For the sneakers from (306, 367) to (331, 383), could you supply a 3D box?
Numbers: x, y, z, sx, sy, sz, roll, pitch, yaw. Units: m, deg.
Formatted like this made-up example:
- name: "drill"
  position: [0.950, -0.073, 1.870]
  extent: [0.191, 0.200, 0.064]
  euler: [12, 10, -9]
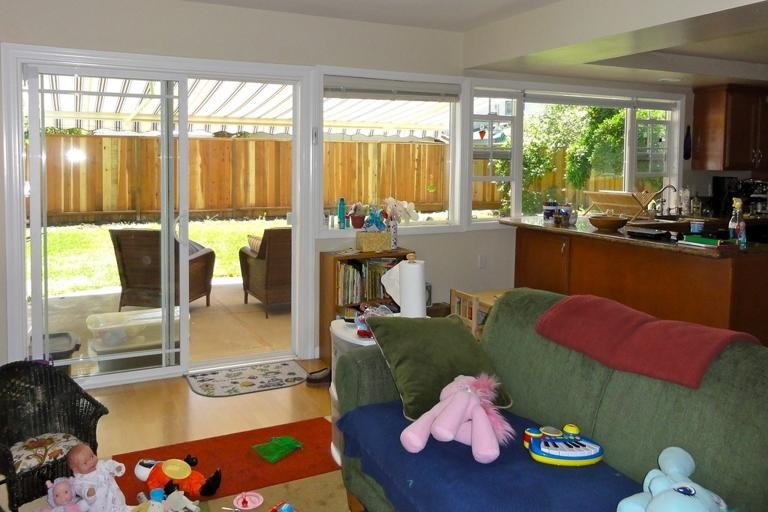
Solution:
- name: "sneakers"
  position: [-0.576, 1.102, 5.051]
  extent: [0.270, 0.107, 0.091]
  euler: [-5, 9, -34]

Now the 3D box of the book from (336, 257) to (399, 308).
- name: "book"
  position: [-0.183, 0.255, 5.119]
  extent: [0.489, 0.464, 0.174]
  euler: [-1, 2, -28]

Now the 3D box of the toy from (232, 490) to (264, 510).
- name: "toy"
  position: [-0.839, 1.511, 3.346]
  extent: [0.178, 0.066, 0.130]
  euler: [0, 12, -3]

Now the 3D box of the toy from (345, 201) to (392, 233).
- name: "toy"
  position: [-0.171, -0.395, 5.626]
  extent: [0.376, 0.204, 0.270]
  euler: [-1, 5, 27]

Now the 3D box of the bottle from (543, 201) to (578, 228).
- name: "bottle"
  position: [1.901, -0.448, 6.026]
  extent: [0.234, 0.280, 0.394]
  euler: [-4, 8, -28]

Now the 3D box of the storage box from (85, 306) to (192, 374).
- name: "storage box"
  position: [-2.325, 0.757, 5.013]
  extent: [0.878, 0.591, 0.499]
  euler: [-2, 2, -22]

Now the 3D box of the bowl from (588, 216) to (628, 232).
- name: "bowl"
  position: [2.248, -0.329, 5.494]
  extent: [0.343, 0.141, 0.351]
  euler: [1, 12, 0]

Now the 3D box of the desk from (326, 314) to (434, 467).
- name: "desk"
  position: [-0.154, 0.956, 4.053]
  extent: [0.859, 1.411, 1.022]
  euler: [0, 5, -5]

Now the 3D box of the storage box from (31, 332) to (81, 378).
- name: "storage box"
  position: [-2.850, 0.806, 4.848]
  extent: [0.528, 0.424, 0.368]
  euler: [-1, 3, -24]

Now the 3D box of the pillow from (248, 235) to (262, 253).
- name: "pillow"
  position: [-1.710, -0.156, 7.216]
  extent: [0.079, 0.171, 0.220]
  euler: [-14, 12, -32]

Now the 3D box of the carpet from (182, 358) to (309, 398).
- name: "carpet"
  position: [-1.278, 1.140, 5.106]
  extent: [1.069, 0.017, 0.669]
  euler: [-5, 13, -22]

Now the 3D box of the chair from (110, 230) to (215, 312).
- name: "chair"
  position: [-2.129, 0.076, 5.298]
  extent: [0.847, 0.768, 0.920]
  euler: [1, 7, -12]
